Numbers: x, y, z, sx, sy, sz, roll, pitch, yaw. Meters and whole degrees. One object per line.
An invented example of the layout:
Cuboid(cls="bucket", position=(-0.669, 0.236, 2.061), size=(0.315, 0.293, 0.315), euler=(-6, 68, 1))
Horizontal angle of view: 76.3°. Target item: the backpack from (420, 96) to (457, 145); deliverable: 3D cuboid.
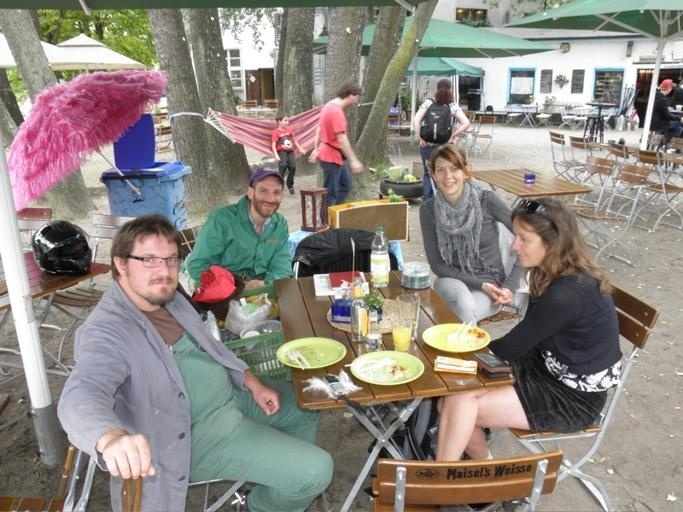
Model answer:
Cuboid(cls="backpack", position=(1.771, -2.428, 7.796), size=(0.583, 0.739, 0.464), euler=(21, 37, 40))

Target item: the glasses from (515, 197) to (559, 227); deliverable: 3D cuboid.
Cuboid(cls="glasses", position=(1.055, -0.259, 2.349), size=(0.178, 0.050, 0.147), euler=(29, -8, -27))

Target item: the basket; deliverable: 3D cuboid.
Cuboid(cls="basket", position=(-0.570, 0.541, 2.891), size=(0.578, 0.318, 0.537), euler=(-10, 25, -18))

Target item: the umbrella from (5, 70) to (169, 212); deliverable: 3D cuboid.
Cuboid(cls="umbrella", position=(-2.572, -1.240, 4.281), size=(0.473, 1.059, 1.943), euler=(7, 25, 20))

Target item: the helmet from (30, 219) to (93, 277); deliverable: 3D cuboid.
Cuboid(cls="helmet", position=(-2.209, -0.074, 3.451), size=(0.479, 0.365, 0.368), euler=(10, 18, 26))

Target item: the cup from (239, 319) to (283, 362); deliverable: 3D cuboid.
Cuboid(cls="cup", position=(-0.517, 0.506, 2.794), size=(0.252, 0.080, 0.162), euler=(-5, 11, -32))

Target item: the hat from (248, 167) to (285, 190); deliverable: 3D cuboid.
Cuboid(cls="hat", position=(-0.631, -0.668, 3.609), size=(0.260, 0.140, 0.273), euler=(-6, 24, -8))

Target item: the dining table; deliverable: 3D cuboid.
Cuboid(cls="dining table", position=(0.229, 1.073, 2.807), size=(1.112, 0.928, 1.893), euler=(-5, 30, -7))

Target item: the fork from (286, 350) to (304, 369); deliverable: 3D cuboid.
Cuboid(cls="fork", position=(-0.225, 0.518, 2.190), size=(0.039, 0.012, 0.135), euler=(-8, 18, -20))

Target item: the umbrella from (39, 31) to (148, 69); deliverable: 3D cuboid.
Cuboid(cls="umbrella", position=(-6.308, -5.146, 10.924), size=(1.925, 0.825, 2.807), euler=(-8, 24, -14))

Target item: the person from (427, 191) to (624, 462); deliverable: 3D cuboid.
Cuboid(cls="person", position=(1.013, 0.515, 2.298), size=(0.969, 1.468, 0.659), euler=(-23, 32, -36))

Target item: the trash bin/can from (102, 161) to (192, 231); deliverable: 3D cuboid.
Cuboid(cls="trash bin/can", position=(-2.578, -0.800, 5.788), size=(1.147, 0.780, 1.147), euler=(9, 16, 23))

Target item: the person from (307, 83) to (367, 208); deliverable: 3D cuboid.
Cuboid(cls="person", position=(-0.081, -1.599, 6.469), size=(0.775, 1.790, 0.923), euler=(-2, 26, 2))
